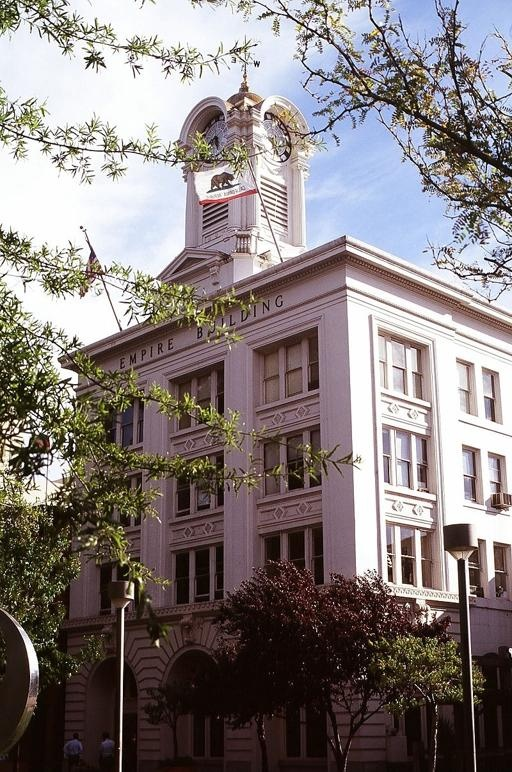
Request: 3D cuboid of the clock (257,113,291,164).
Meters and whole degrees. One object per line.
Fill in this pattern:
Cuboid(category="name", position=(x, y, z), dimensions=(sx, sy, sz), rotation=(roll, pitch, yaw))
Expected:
Cuboid(category="clock", position=(0.684, -10.097, 43.868), dimensions=(0.046, 2.071, 2.070), rotation=(-14, -16, 43))
